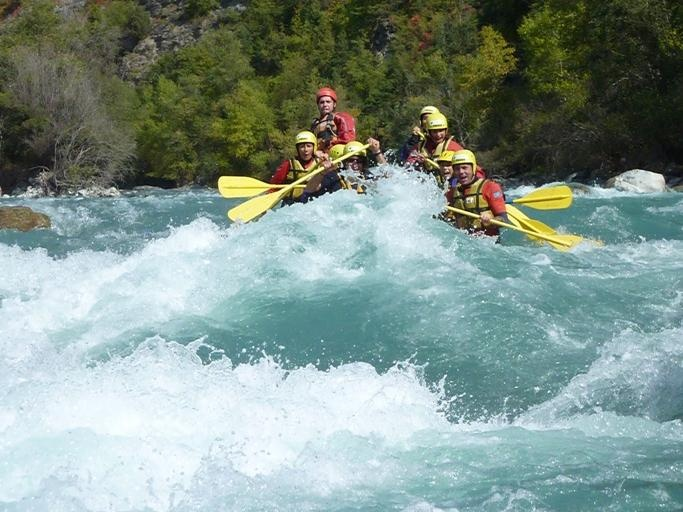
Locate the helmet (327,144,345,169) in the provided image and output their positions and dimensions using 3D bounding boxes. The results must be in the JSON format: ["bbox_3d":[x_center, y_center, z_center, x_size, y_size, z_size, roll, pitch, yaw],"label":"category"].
[{"bbox_3d":[-0.061,-1.653,11.148,0.379,0.383,0.292,-5,15,3],"label":"helmet"}]

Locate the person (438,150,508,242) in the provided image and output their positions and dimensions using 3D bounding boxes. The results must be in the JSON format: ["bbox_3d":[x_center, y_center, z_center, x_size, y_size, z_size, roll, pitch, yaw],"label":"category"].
[{"bbox_3d":[1.985,-0.924,10.392,0.934,1.426,0.755,-8,12,16],"label":"person"}]

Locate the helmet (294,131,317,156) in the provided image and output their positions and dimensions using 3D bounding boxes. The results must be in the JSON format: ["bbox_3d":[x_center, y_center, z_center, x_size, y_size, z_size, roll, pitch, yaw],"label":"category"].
[{"bbox_3d":[-0.589,-1.817,10.728,0.281,0.311,0.379,-2,7,8],"label":"helmet"}]

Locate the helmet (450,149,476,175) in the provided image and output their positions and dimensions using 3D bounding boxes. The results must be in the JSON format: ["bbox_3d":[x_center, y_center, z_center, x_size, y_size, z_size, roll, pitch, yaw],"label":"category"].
[{"bbox_3d":[1.862,-1.435,10.384,0.326,0.391,0.599,-7,12,21],"label":"helmet"}]

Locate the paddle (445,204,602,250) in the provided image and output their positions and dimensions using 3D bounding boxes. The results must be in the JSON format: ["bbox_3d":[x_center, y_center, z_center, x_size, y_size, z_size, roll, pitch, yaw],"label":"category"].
[{"bbox_3d":[2.903,-0.441,10.892,1.763,0.122,0.389,21,-4,-7],"label":"paddle"}]
